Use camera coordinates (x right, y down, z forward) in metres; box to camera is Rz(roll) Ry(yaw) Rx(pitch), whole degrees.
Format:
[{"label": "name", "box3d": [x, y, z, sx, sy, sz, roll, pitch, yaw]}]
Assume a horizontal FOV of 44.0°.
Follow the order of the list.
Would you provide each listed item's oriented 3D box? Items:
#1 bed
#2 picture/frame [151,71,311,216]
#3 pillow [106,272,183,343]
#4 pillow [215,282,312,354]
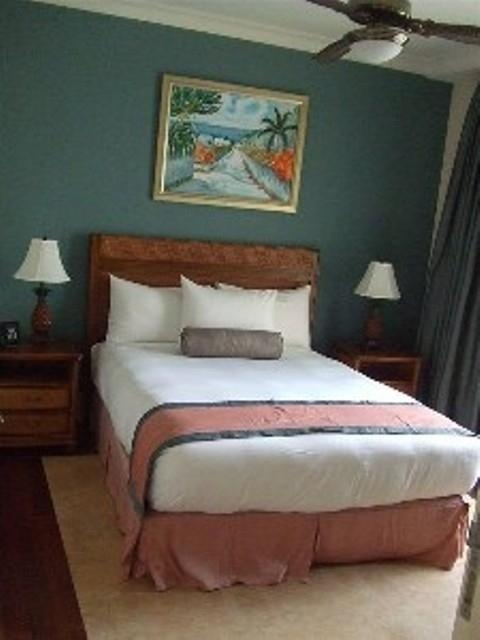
[{"label": "bed", "box3d": [0.011, 0.336, 3.306, 1.776, 1.200, 2.078, 1, 9, -14]}, {"label": "picture/frame", "box3d": [-0.106, -1.264, 4.142, 1.225, 0.771, 0.047, 5, 17, -20]}, {"label": "pillow", "box3d": [-0.630, -0.065, 3.950, 0.228, 0.406, 0.638, 11, 4, 40]}, {"label": "pillow", "box3d": [0.246, 0.002, 4.372, 0.571, 0.482, 0.162, 1, -7, -37]}]
